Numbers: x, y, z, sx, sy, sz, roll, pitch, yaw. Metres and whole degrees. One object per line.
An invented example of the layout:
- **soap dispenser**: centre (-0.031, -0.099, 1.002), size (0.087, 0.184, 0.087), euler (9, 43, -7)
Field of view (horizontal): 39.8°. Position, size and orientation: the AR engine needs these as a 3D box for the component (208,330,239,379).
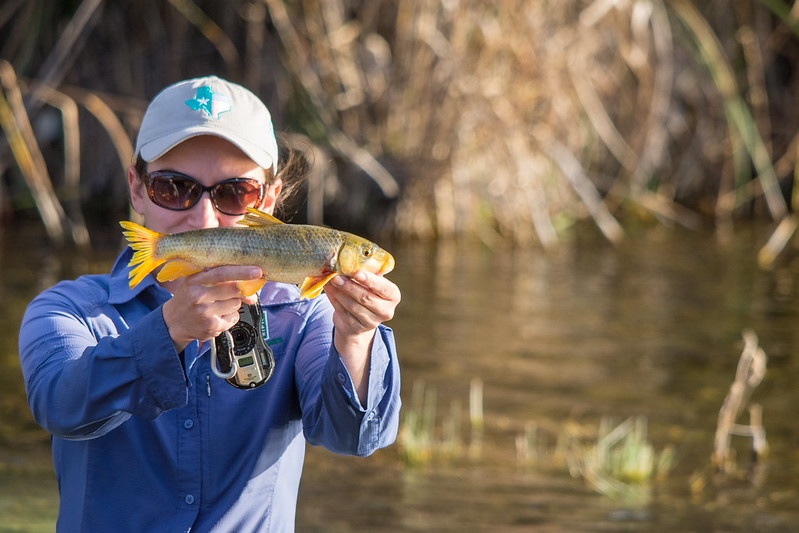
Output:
- **component**: centre (-1.558, 0.781, 9.773), size (0.217, 0.523, 0.059), euler (15, 35, 13)
